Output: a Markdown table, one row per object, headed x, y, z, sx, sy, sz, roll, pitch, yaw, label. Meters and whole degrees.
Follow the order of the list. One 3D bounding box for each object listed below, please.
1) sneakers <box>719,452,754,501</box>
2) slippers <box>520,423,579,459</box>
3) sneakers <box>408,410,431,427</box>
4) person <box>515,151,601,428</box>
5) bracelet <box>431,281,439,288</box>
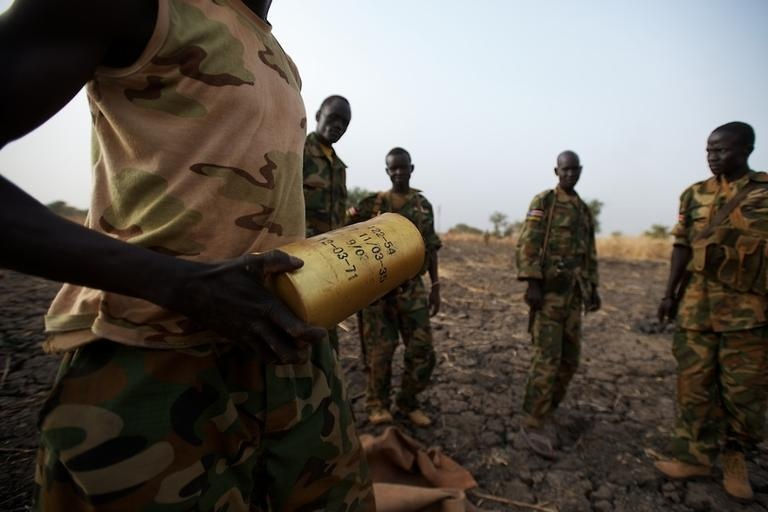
| x | y | z | sx | sy | sz | roll | pitch | yaw | label |
| --- | --- | --- | --- | --- | --- | --- | --- | --- | --- |
| 2.581 | 1.621 | 3.895 | 0.136 | 0.156 | 0.394 | -14 | 5 | 19 | sneakers |
| 1.298 | 1.510 | 4.276 | 0.168 | 0.144 | 0.359 | 2 | -6 | -20 | slippers |
| 0.319 | 1.469 | 4.786 | 0.115 | 0.130 | 0.222 | 9 | -3 | -37 | sneakers |
| 1.486 | 0.255 | 4.640 | 0.513 | 1.965 | 0.891 | 6 | -3 | 43 | person |
| 0.529 | 0.302 | 5.416 | 0.016 | 0.057 | 0.058 | -18 | 46 | -22 | bracelet |
